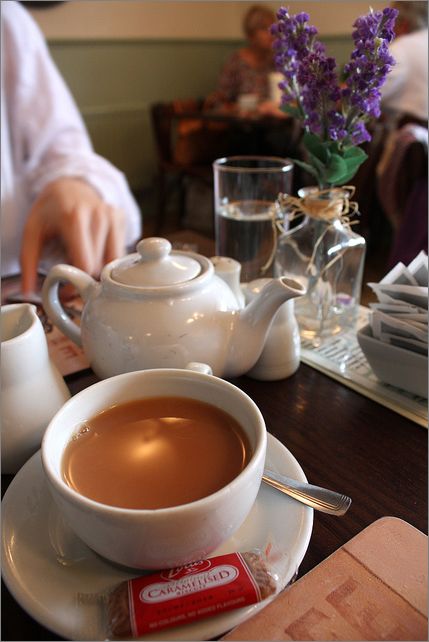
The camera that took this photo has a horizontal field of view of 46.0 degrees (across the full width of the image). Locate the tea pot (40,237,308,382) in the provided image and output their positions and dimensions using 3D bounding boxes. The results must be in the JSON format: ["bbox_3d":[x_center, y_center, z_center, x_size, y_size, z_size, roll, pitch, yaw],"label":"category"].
[{"bbox_3d":[-0.033,-0.005,0.402,0.201,0.134,0.121,3,26,5],"label":"tea pot"}]

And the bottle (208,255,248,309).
[{"bbox_3d":[0.022,-0.046,0.563,0.034,0.055,0.057,-5,45,5],"label":"bottle"}]

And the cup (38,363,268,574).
[{"bbox_3d":[-0.035,0.087,0.299,0.123,0.068,0.120,0,25,0],"label":"cup"}]
